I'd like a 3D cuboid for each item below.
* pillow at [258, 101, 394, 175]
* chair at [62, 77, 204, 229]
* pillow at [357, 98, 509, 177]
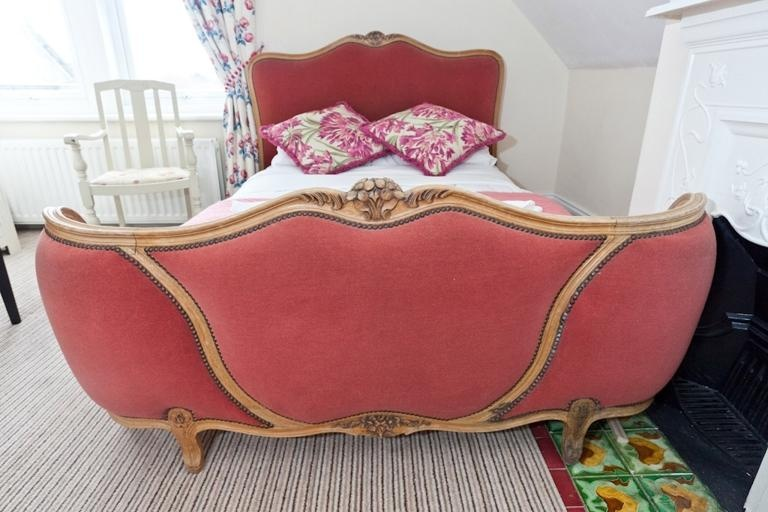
[{"bbox_3d":[-0.538,-0.878,3.666,0.603,0.161,0.597,6,50,28],"label":"pillow"},{"bbox_3d":[-1.733,-0.696,3.839,0.798,1.122,0.741,-3,21,-5],"label":"chair"},{"bbox_3d":[0.337,-0.775,3.430,0.662,0.183,0.625,-29,48,-35],"label":"pillow"}]
